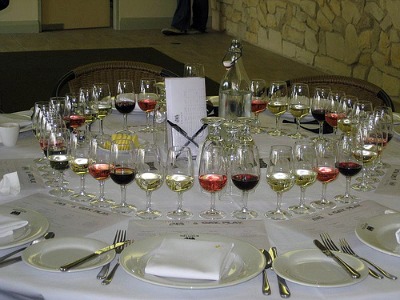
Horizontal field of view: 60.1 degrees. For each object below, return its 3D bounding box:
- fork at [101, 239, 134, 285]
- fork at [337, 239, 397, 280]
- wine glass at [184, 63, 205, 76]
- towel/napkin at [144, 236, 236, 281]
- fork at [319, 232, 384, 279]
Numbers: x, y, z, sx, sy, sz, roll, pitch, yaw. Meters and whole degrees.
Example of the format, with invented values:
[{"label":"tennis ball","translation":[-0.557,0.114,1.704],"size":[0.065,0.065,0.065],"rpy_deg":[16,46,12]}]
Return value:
[{"label":"fork","translation":[-0.208,0.279,0.863],"size":[0.016,0.014,0.121],"rpy_deg":[5,37,11]},{"label":"fork","translation":[0.427,0.280,0.952],"size":[0.029,0.035,0.246],"rpy_deg":[6,9,-27]},{"label":"wine glass","translation":[-0.032,-0.431,1.890],"size":[0.086,0.081,0.085],"rpy_deg":[2,8,7]},{"label":"towel/napkin","translation":[-0.016,0.263,0.836],"size":[0.193,0.032,0.153],"rpy_deg":[0,11,8]},{"label":"fork","translation":[0.389,0.265,0.913],"size":[0.035,0.030,0.251],"rpy_deg":[-12,24,-12]}]
